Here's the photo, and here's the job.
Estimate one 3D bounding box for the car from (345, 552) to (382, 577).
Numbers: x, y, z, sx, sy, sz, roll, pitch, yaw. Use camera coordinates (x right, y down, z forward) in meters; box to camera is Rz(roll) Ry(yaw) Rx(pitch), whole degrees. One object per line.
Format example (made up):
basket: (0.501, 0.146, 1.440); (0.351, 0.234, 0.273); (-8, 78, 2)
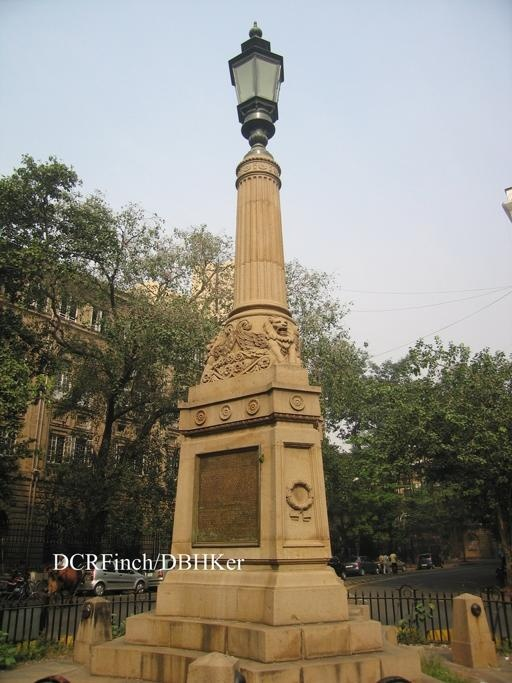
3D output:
car: (7.291, 15.572, 35.064); (3.123, 0.975, 1.372); (17, -25, -41)

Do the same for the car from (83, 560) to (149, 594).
car: (-6.199, 10.386, 21.923); (0.955, 1.234, 3.538); (-10, -26, 22)
